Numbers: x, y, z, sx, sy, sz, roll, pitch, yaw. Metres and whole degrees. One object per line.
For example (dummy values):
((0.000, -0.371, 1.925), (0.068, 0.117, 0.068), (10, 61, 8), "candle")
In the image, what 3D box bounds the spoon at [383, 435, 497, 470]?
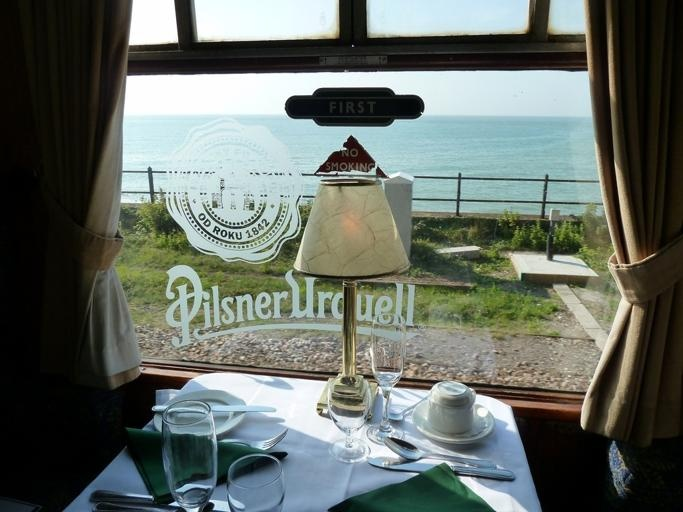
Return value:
((0.300, 0.594, 1.647), (0.246, 0.042, 0.051), (3, 8, 15), "spoon")

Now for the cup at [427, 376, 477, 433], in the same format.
((0.357, 0.481, 1.764), (0.146, 0.139, 0.141), (-3, 19, 1), "cup")

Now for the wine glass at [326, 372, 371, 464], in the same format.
((0.025, 0.478, 1.655), (0.119, 0.243, 0.186), (0, 7, 1), "wine glass")
